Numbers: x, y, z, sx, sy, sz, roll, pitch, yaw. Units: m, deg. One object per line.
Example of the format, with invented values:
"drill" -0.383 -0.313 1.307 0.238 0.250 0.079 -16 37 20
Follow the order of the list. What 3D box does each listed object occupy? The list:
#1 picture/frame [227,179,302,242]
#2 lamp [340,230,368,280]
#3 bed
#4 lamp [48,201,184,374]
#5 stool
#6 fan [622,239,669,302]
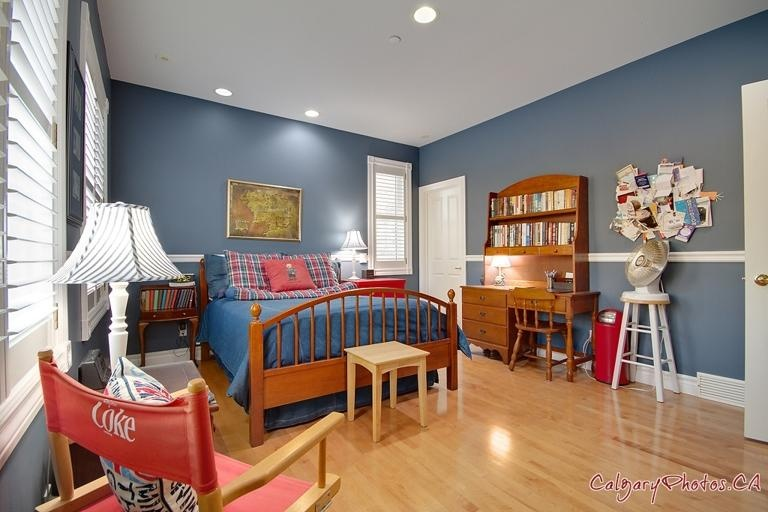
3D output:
"picture/frame" -1.481 -0.541 5.540 0.802 0.619 0.028 1 1 -33
"lamp" -0.396 -0.005 6.116 0.374 0.621 0.365 2 -6 -15
"bed" -0.701 0.551 4.956 2.321 1.277 2.780 -2 0 -24
"lamp" -1.391 0.148 2.414 0.311 0.857 0.531 1 2 34
"stool" 0.013 1.032 3.664 0.583 0.624 0.518 -1 2 -26
"fan" 2.381 0.121 4.195 0.377 0.544 0.317 0 2 24
